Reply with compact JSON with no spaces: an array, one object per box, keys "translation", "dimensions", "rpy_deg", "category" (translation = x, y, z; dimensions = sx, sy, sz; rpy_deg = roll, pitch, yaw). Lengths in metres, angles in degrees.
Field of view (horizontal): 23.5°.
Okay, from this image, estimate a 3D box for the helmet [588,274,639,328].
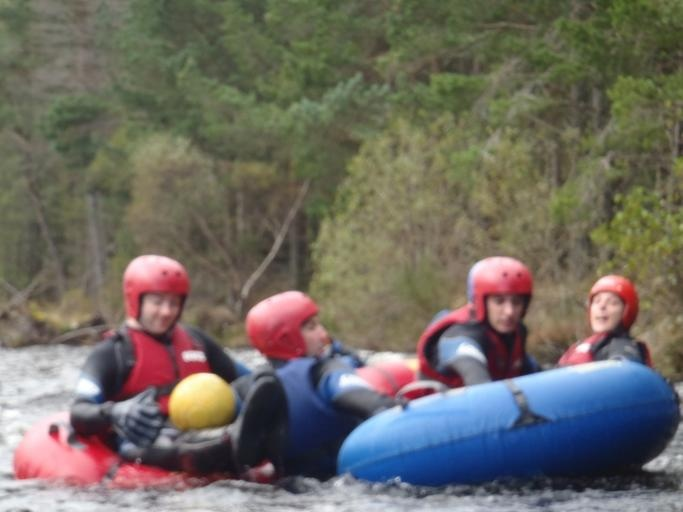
[{"translation":[3.041,0.478,18.562],"dimensions":[0.409,0.550,0.554],"rpy_deg":[5,-13,6],"category":"helmet"}]
